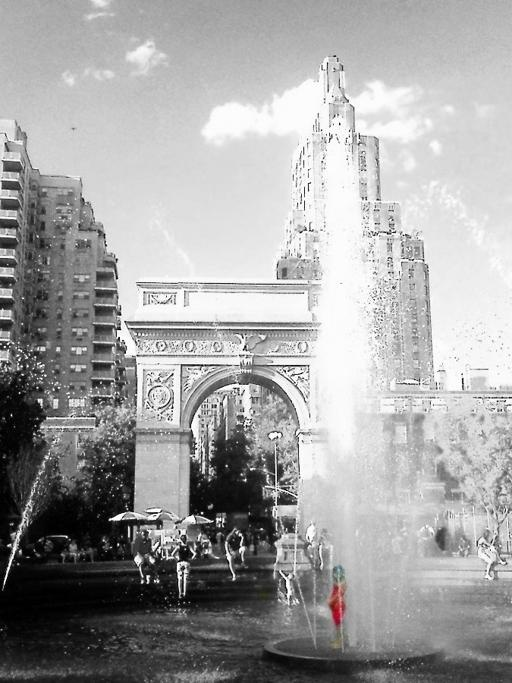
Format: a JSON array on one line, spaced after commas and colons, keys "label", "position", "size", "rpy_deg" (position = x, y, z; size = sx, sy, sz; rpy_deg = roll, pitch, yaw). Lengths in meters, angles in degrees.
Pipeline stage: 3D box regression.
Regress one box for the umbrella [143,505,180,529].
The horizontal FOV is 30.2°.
[{"label": "umbrella", "position": [-3.684, 6.905, 37.142], "size": [1.315, 0.769, 2.677], "rpy_deg": [1, -8, -7]}]
